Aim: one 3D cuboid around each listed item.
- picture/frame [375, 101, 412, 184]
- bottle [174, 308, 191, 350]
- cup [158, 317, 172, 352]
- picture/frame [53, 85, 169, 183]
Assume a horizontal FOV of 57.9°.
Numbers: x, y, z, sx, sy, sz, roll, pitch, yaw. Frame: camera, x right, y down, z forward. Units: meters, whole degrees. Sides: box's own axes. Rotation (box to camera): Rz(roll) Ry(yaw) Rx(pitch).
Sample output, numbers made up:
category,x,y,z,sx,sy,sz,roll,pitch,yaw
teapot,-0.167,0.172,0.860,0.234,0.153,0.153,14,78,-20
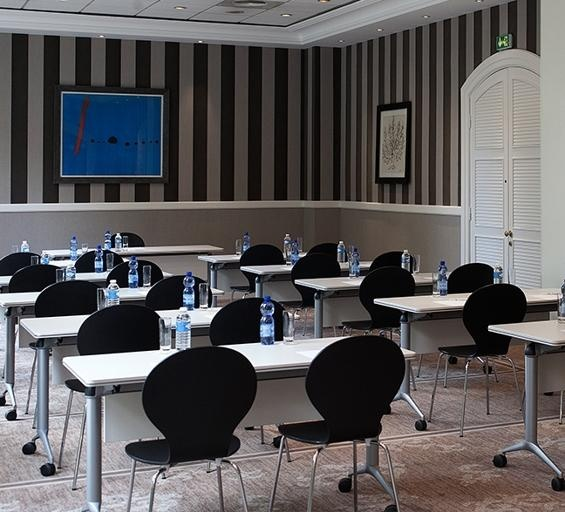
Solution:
category,x,y,z,sx,sy,sz,roll,pitch,yaw
picture/frame,1.815,-1.831,8.410,0.075,1.318,0.825,-2,4,-29
bottle,-0.474,0.356,2.434,0.062,0.166,0.179,-1,4,-15
cup,-0.526,0.352,2.294,0.046,0.132,0.077,-2,4,-19
picture/frame,-2.853,-2.006,8.598,1.786,1.559,0.197,-1,4,-12
